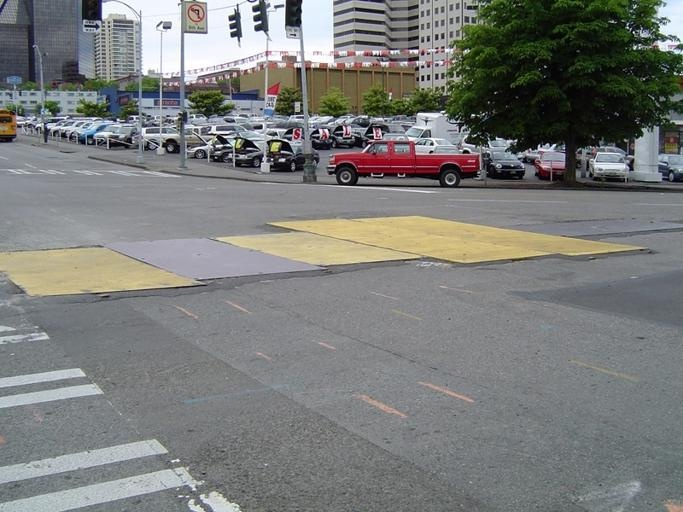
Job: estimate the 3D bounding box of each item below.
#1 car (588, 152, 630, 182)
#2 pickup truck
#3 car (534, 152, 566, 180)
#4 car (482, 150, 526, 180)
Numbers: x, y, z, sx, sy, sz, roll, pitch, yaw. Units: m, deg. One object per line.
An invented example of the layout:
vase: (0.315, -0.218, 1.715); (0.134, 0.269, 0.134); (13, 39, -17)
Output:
car: (17.115, -5.655, 38.936); (2.052, 1.737, 2.700); (4, 12, 15)
pickup truck: (3.130, -5.034, 33.616); (8.701, 2.268, 2.946); (1, 7, 0)
car: (13.739, -5.946, 40.319); (1.444, 0.947, 2.865); (-1, 7, 4)
car: (10.638, -6.054, 40.785); (2.288, 1.766, 2.527); (-3, 12, -16)
